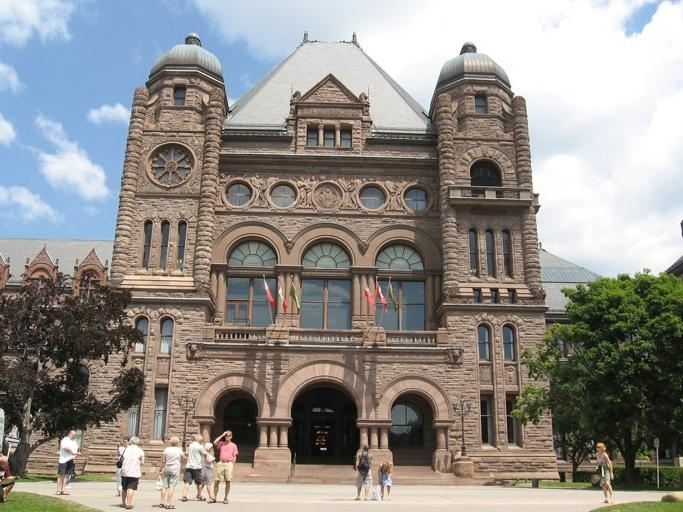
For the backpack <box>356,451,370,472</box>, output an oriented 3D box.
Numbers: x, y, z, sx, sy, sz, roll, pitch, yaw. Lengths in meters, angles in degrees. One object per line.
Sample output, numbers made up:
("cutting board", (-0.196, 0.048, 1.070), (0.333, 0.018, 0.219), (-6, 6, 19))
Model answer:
("backpack", (0.973, 9.274, 32.486), (0.509, 0.931, 0.353), (0, -17, 1))
